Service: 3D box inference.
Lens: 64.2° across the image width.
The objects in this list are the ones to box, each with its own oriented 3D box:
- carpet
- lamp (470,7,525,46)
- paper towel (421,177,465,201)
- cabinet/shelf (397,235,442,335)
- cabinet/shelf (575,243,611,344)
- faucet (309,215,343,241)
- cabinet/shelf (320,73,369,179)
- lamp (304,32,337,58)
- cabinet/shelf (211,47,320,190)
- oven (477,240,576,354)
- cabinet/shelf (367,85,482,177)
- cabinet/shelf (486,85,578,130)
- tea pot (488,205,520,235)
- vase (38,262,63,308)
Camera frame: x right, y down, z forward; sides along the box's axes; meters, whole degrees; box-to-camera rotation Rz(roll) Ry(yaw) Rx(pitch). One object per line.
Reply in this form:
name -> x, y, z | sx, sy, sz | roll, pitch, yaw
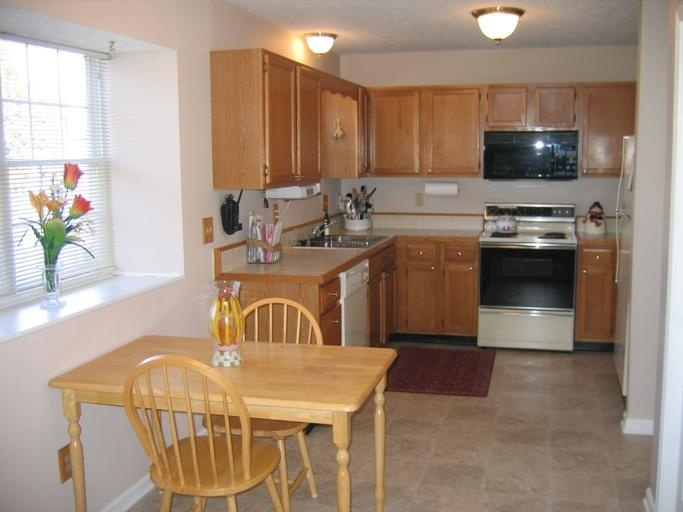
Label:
carpet -> 0.878, 1.005, 4.780 | 0.895, 0.027, 1.041 | 2, 11, 15
lamp -> 1.166, -1.722, 4.061 | 0.391, 0.249, 0.291 | 1, 11, 12
paper towel -> 1.076, -0.727, 5.855 | 0.401, 0.198, 0.171 | 1, 11, 11
cabinet/shelf -> 0.776, 0.296, 5.486 | 0.441, 0.961, 0.113 | 0, 11, 6
cabinet/shelf -> 2.365, 0.324, 5.071 | 0.349, 0.937, 0.151 | 3, 12, 22
faucet -> -0.166, -0.309, 5.596 | 0.107, 0.237, 0.636 | 4, 15, 16
cabinet/shelf -> 0.015, -1.194, 5.065 | 0.383, 1.037, 1.104 | 1, 10, 7
lamp -> -0.175, -1.891, 4.857 | 0.215, 0.142, 0.217 | -4, 19, -5
cabinet/shelf -> -0.502, -0.988, 4.039 | 0.394, 0.931, 1.111 | 4, 12, 18
oven -> 1.795, 0.368, 5.443 | 0.952, 1.063, 0.730 | 0, 8, 4
cabinet/shelf -> 0.899, -1.326, 5.747 | 1.189, 0.920, 0.447 | 4, 21, 20
cabinet/shelf -> 1.877, -1.434, 5.503 | 0.926, 0.456, 0.404 | 2, -7, 9
tea pot -> 1.636, -0.371, 5.609 | 0.316, 0.332, 0.326 | 0, 2, 0
vase -> -1.433, 0.149, 2.688 | 0.108, 0.209, 0.116 | -8, 13, -32
